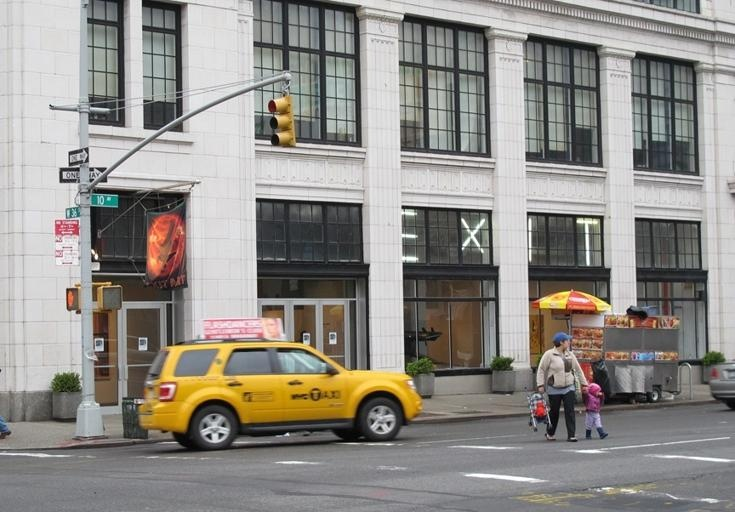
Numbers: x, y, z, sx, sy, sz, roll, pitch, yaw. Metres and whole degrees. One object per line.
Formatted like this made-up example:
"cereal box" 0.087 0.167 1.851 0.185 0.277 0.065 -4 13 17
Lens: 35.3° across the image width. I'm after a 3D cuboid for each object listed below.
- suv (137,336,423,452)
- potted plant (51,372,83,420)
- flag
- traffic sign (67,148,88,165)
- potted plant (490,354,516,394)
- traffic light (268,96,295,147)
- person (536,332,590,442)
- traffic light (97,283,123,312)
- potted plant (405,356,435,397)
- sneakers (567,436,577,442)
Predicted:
"suv" -2.234 3.378 28.299 6.167 2.190 2.620 -1 -3 -17
"potted plant" -8.618 3.952 33.101 0.867 1.266 1.031 -3 4 -13
"flag" -5.978 -0.272 34.013 1.159 2.465 0.536 0 -6 -15
"traffic sign" -7.556 -2.577 30.011 0.683 0.385 0.032 -7 -13 43
"potted plant" 4.730 4.064 40.552 0.963 1.382 1.157 -2 8 6
"traffic light" -2.153 -3.340 28.230 0.583 1.389 1.011 -1 -6 -6
"person" 4.585 3.141 27.650 1.081 2.543 0.998 -2 -6 -4
"traffic light" -6.714 1.085 29.857 0.585 0.661 0.717 -1 -6 -13
"potted plant" 1.498 4.071 38.675 1.208 1.467 1.140 1 -4 -26
"sneakers" 4.772 4.316 27.153 0.223 0.109 0.227 -2 -5 3
